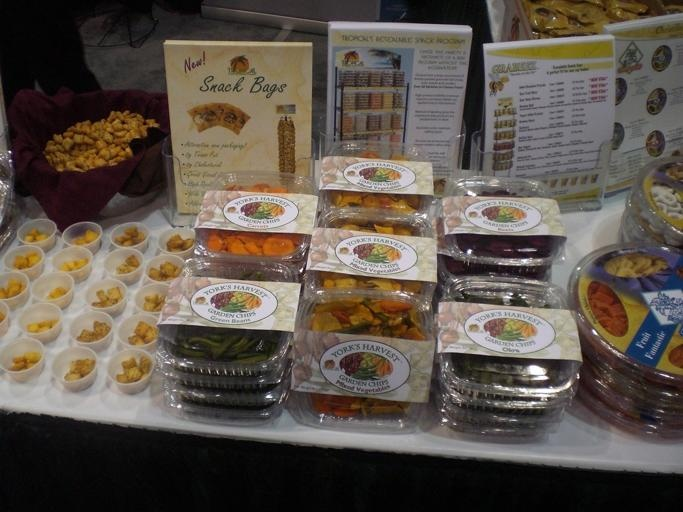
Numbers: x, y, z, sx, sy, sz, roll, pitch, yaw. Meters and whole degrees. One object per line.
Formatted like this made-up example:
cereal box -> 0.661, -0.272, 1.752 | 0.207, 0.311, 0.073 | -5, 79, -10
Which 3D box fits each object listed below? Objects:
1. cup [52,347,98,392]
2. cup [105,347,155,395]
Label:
cup -> -0.900, 0.389, 1.763 | 0.159, 0.073, 0.139 | -2, 46, -5
cup -> -0.708, 0.400, 1.741 | 0.081, 0.152, 0.162 | 27, 21, -29
